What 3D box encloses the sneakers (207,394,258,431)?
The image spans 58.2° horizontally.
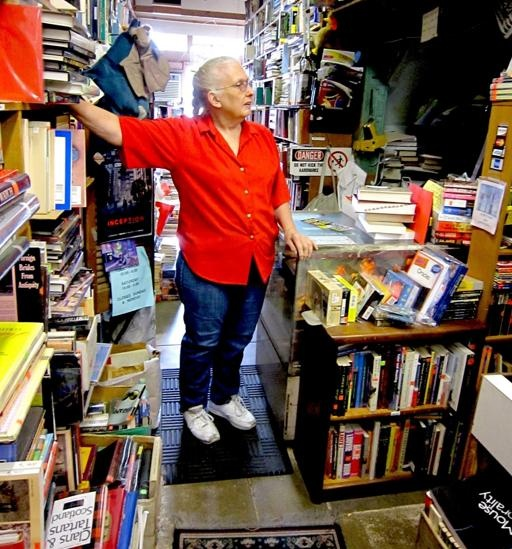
[{"bbox_3d":[-0.116,0.778,2.633,0.315,0.118,0.130,18,19,24],"label":"sneakers"}]

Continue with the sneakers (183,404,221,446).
[{"bbox_3d":[-0.304,0.779,2.484,0.128,0.094,0.254,-21,44,-37],"label":"sneakers"}]

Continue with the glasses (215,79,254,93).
[{"bbox_3d":[-0.098,-0.809,1.994,0.105,0.025,0.093,-7,24,12],"label":"glasses"}]

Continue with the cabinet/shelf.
[{"bbox_3d":[0.208,-0.315,2.856,1.644,2.755,1.872,-8,36,11],"label":"cabinet/shelf"}]
